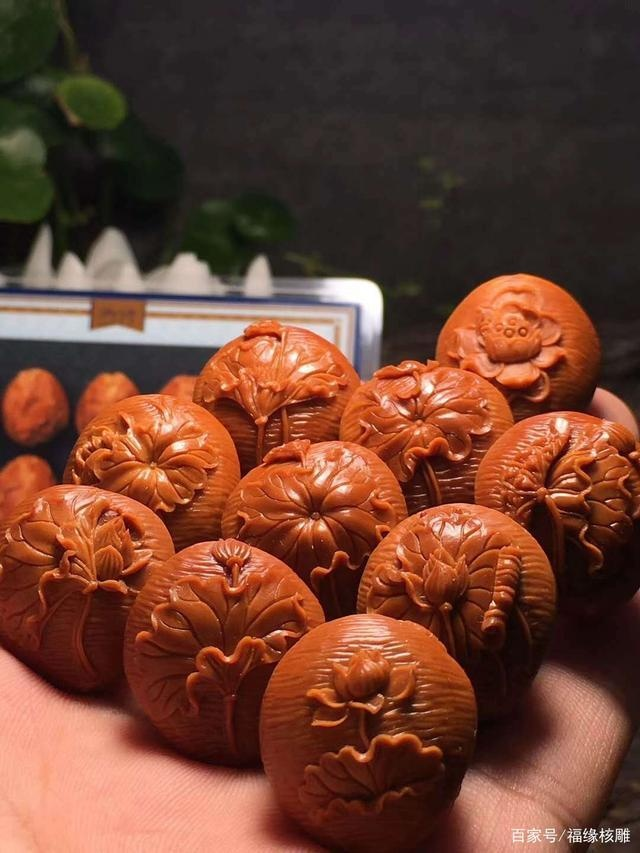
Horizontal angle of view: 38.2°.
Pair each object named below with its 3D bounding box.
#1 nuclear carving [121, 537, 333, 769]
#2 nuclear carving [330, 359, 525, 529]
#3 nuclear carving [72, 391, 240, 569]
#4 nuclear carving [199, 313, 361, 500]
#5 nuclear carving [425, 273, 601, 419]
[{"bbox_3d":[-0.083,0.203,0.917,0.202,0.124,0.192,44,91,2],"label":"nuclear carving"},{"bbox_3d":[0.110,0.004,1.008,0.173,0.104,0.158,-24,56,-16],"label":"nuclear carving"},{"bbox_3d":[-0.159,0.056,1.020,0.174,0.097,0.157,32,75,2],"label":"nuclear carving"},{"bbox_3d":[-0.030,-0.021,1.007,0.186,0.171,0.164,-5,91,-4],"label":"nuclear carving"},{"bbox_3d":[0.232,-0.087,1.105,0.172,0.109,0.174,-16,60,1],"label":"nuclear carving"}]
